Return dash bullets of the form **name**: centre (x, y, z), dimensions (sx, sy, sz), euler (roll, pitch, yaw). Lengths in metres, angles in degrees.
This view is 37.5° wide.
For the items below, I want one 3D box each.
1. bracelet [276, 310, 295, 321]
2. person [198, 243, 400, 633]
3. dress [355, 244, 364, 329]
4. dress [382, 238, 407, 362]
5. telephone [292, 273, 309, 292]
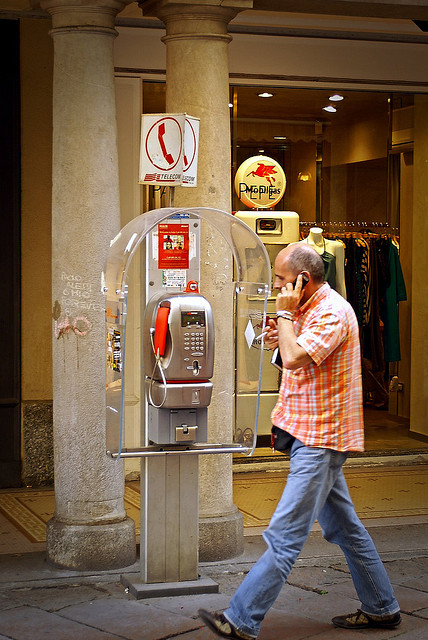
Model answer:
- **bracelet**: centre (0.234, -0.016, 2.086), dimensions (0.051, 0.033, 0.076), euler (1, -4, 4)
- **person**: centre (0.489, 0.502, 2.617), dimensions (0.559, 1.446, 1.523), euler (0, -5, 21)
- **dress**: centre (1.655, -0.406, 7.216), dimensions (0.088, 0.882, 0.295), euler (0, -4, 14)
- **dress**: centre (2.051, -0.227, 7.174), dimensions (0.241, 1.375, 0.268), euler (1, -4, 5)
- **telephone**: centre (0.289, -0.121, 2.110), dimensions (0.036, 0.022, 0.061), euler (5, -44, -23)
